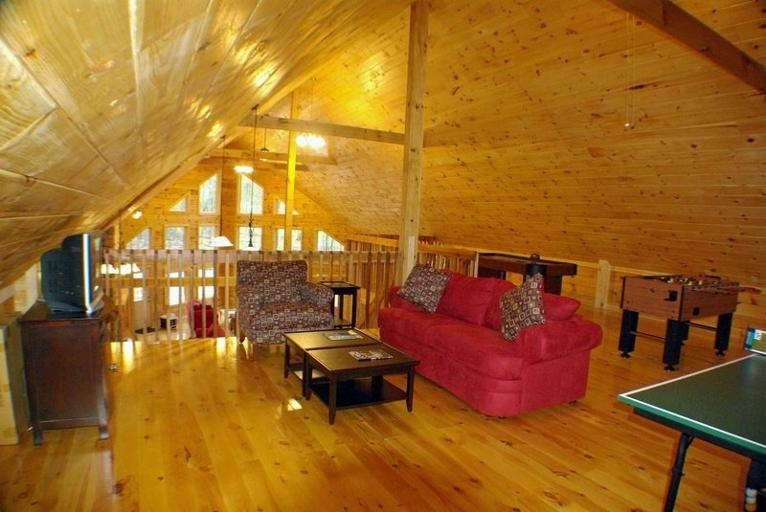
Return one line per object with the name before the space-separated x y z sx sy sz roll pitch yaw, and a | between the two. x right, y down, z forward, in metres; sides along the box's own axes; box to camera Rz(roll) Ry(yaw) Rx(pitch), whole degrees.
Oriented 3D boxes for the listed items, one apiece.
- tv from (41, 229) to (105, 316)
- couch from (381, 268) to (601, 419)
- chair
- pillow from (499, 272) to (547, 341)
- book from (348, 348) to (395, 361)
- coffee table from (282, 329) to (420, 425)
tv | -2.192 0.124 3.631 0.447 0.505 0.740 0 3 -21
couch | 0.825 0.665 4.791 1.110 0.686 1.915 -8 14 -32
chair | -1.040 0.460 5.350 0.965 0.608 0.778 1 22 -22
pillow | 1.158 0.420 4.291 0.340 0.535 0.485 -2 2 -12
book | -0.097 0.788 4.133 0.345 0.041 0.250 -1 1 -7
coffee table | -0.334 0.917 4.304 0.768 0.314 1.014 -1 10 -28
